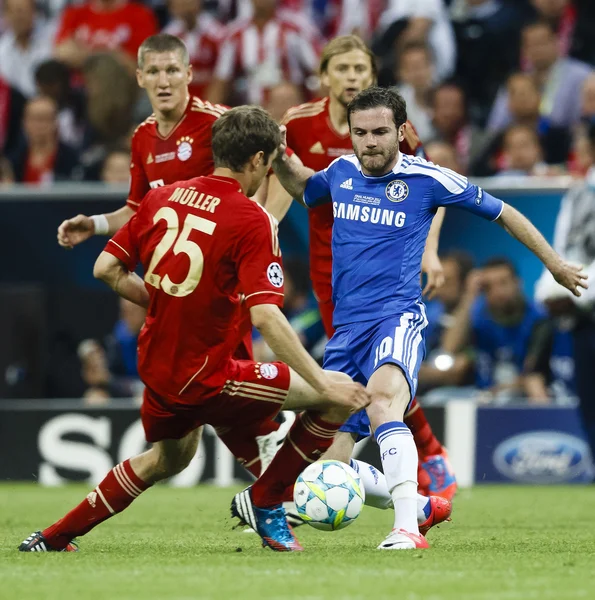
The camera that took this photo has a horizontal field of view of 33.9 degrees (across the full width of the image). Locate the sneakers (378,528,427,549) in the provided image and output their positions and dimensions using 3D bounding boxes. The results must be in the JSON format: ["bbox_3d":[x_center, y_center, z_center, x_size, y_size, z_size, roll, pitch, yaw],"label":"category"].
[{"bbox_3d":[0.425,0.967,3.916,0.175,0.069,0.084,3,0,-2],"label":"sneakers"}]

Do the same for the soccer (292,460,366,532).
[{"bbox_3d":[0.179,0.822,4.233,0.321,0.284,0.292,2,55,15],"label":"soccer"}]

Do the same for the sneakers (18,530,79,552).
[{"bbox_3d":[-1.079,1.066,4.306,0.289,0.109,0.092,-2,6,-6],"label":"sneakers"}]

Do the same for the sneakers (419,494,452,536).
[{"bbox_3d":[0.679,0.988,4.602,0.102,0.124,0.275,6,22,30],"label":"sneakers"}]
